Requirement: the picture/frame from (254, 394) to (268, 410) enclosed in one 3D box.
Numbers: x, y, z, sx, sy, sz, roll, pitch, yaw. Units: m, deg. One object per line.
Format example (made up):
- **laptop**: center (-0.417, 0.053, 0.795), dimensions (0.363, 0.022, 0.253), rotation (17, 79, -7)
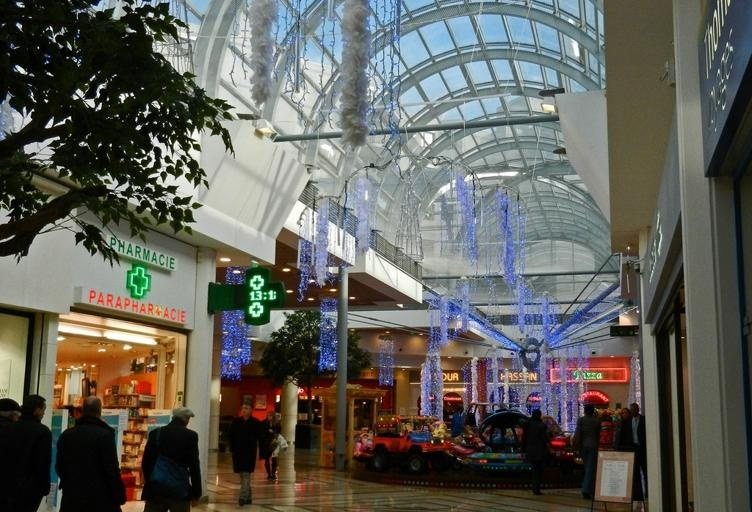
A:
- **picture/frame**: center (-6.429, 8.069, 36.978), dimensions (0.809, 0.997, 0.126), rotation (3, -11, -10)
